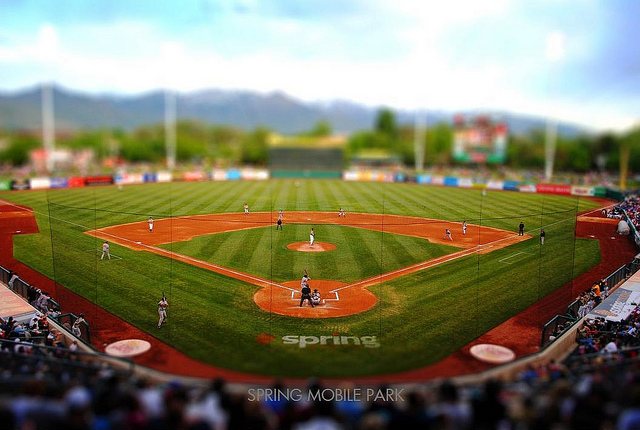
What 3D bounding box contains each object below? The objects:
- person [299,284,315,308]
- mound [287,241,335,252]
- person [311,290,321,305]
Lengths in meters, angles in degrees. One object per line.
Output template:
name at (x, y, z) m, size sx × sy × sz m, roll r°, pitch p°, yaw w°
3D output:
person at (-0.837, 4.984, 31.312) m, size 1.253 × 2.037 × 0.751 m, roll 2°, pitch 36°, yaw 1°
mound at (-0.736, 2.665, 42.306) m, size 3.651 × 0.150 × 2.999 m, roll 4°, pitch 14°, yaw 11°
person at (-0.249, 5.056, 31.382) m, size 0.592 × 0.759 × 0.253 m, roll -3°, pitch -7°, yaw 0°
